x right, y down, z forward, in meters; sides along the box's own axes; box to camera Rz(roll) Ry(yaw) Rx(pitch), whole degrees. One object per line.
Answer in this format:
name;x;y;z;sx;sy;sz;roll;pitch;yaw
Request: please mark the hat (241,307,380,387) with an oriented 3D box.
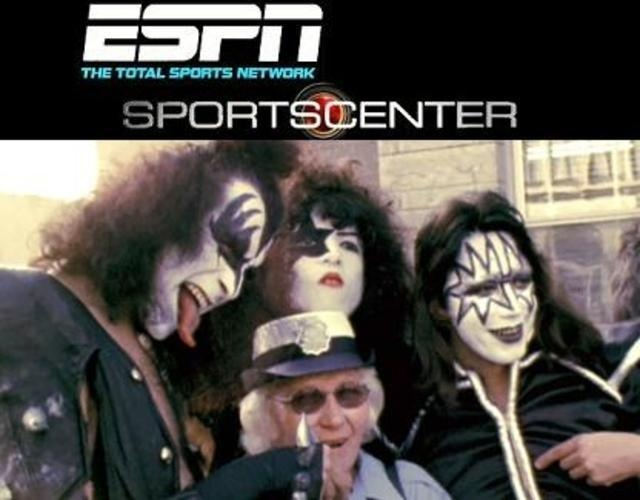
hat;-0.249;0.728;10.455;0.930;0.373;0.977;-6;3;27
